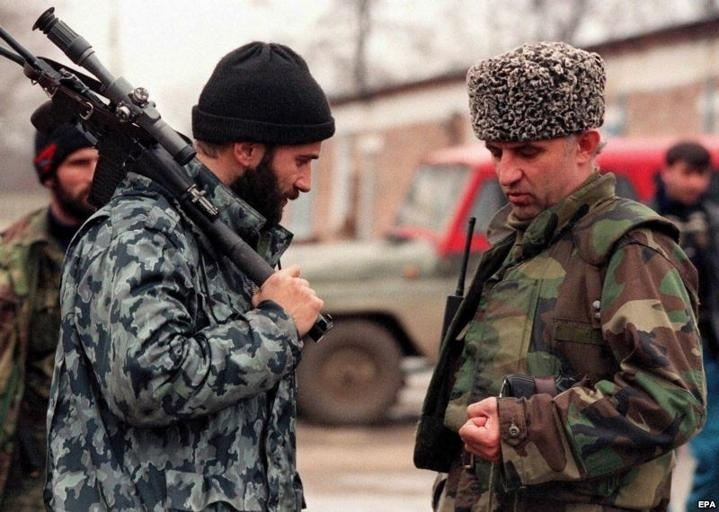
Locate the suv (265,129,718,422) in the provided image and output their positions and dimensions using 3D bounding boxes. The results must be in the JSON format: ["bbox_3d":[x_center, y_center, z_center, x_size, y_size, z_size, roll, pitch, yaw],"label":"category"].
[{"bbox_3d":[1.144,0.239,11.038,3.403,2.199,2.168,1,-1,-5],"label":"suv"}]

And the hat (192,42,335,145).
[{"bbox_3d":[-0.414,-0.727,5.098,0.633,0.450,0.638,2,9,-1],"label":"hat"}]

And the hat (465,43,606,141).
[{"bbox_3d":[0.778,-0.679,4.992,0.511,0.383,0.520,-3,-7,17],"label":"hat"}]
